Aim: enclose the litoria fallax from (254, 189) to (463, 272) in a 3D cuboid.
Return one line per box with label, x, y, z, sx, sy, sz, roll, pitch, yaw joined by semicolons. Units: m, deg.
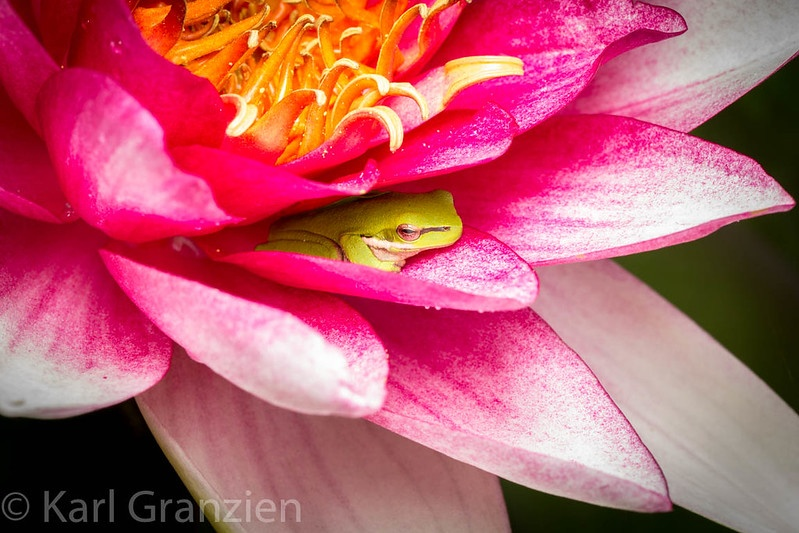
litoria fallax;-0.029;-0.034;0.656;0.119;0.044;0.089;18;21;5
